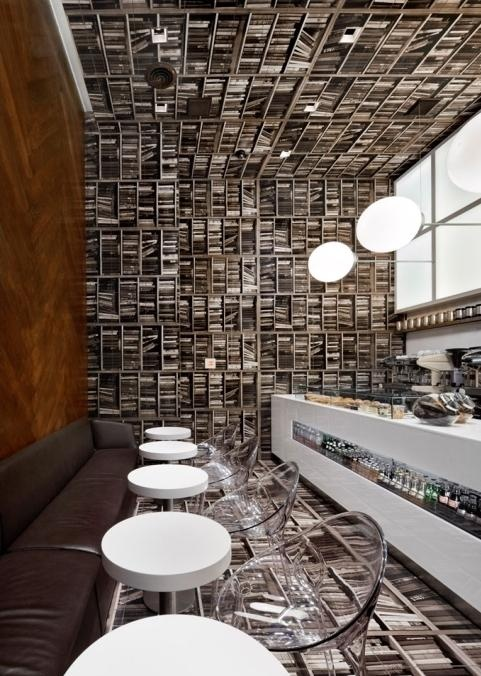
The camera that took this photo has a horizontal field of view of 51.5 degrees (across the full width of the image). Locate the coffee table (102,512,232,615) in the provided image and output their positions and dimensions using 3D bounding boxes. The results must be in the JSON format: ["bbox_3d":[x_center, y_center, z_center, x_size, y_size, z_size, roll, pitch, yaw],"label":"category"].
[{"bbox_3d":[-0.282,0.819,1.909,0.473,0.166,0.546,-1,1,-9],"label":"coffee table"}]

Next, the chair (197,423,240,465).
[{"bbox_3d":[-0.207,0.907,4.379,0.303,0.363,0.262,5,-5,-12],"label":"chair"}]

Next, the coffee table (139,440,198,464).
[{"bbox_3d":[-0.484,0.776,3.435,0.318,0.147,0.316,1,1,40],"label":"coffee table"}]

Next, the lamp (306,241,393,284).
[{"bbox_3d":[1.128,-0.775,5.201,0.711,0.661,0.161,-2,7,32],"label":"lamp"}]

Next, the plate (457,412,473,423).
[{"bbox_3d":[1.349,0.483,3.009,0.081,0.038,0.109,-3,-2,9],"label":"plate"}]
